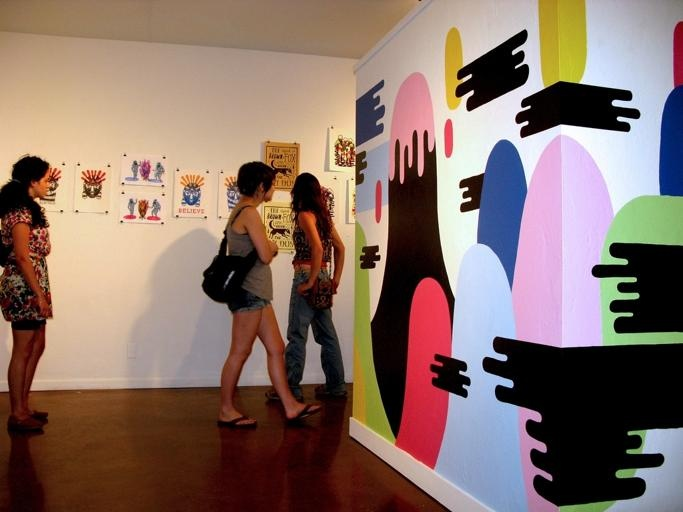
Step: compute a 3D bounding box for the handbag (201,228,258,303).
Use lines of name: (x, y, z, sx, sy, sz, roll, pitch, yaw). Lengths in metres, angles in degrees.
handbag: (-0.728, 0.134, 3.579, 0.344, 0.359, 0.139, 0, -1, -14)

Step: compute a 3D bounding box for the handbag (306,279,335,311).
handbag: (-0.130, 0.334, 4.387, 0.232, 0.366, 0.198, 4, -5, -23)

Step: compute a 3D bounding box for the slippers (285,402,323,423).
slippers: (-0.258, 1.091, 3.775, 0.257, 0.079, 0.117, -27, 7, -37)

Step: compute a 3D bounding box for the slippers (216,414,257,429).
slippers: (-0.707, 1.107, 3.706, 0.197, 0.058, 0.107, -1, -3, 13)

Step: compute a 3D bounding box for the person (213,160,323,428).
person: (-0.544, 0.250, 3.716, 0.571, 1.810, 0.360, 0, -1, -15)

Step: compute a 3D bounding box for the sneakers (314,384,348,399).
sneakers: (-0.112, 1.123, 4.620, 0.239, 0.120, 0.118, 3, -3, 41)

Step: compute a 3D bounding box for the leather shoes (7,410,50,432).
leather shoes: (-2.092, 1.085, 3.606, 0.195, 0.080, 0.160, 1, 1, -6)
